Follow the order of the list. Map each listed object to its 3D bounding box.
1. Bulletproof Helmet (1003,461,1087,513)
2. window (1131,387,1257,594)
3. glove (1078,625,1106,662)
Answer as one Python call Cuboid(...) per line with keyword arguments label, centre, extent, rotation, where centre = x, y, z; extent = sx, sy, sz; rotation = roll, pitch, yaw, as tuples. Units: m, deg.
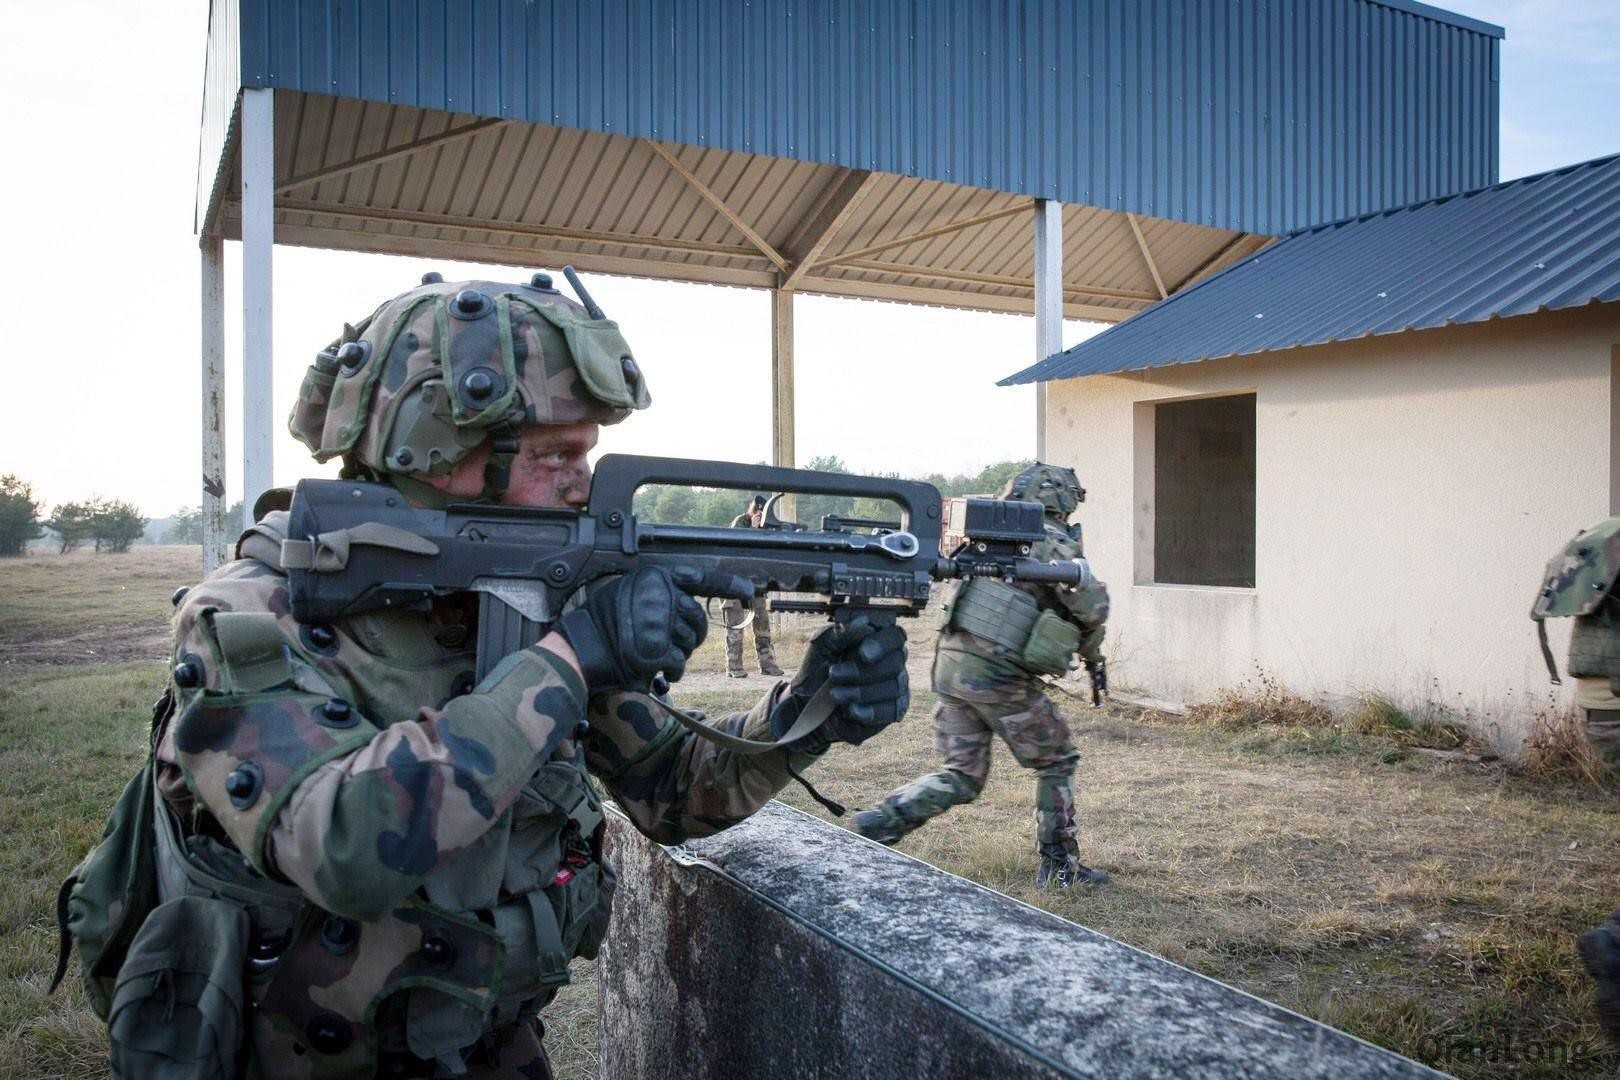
Cuboid(label="Bulletproof Helmet", centre=(1.908, -0.432, 11.919), extent=(0.557, 0.461, 0.526), rotation=(-1, 10, -11))
Cuboid(label="window", centre=(4.939, -0.664, 19.025), extent=(2.051, 4.275, 0.393), rotation=(1, -1, -23))
Cuboid(label="glove", centre=(2.237, 0.812, 11.452), extent=(0.101, 0.357, 0.215), rotation=(4, -4, -40))
